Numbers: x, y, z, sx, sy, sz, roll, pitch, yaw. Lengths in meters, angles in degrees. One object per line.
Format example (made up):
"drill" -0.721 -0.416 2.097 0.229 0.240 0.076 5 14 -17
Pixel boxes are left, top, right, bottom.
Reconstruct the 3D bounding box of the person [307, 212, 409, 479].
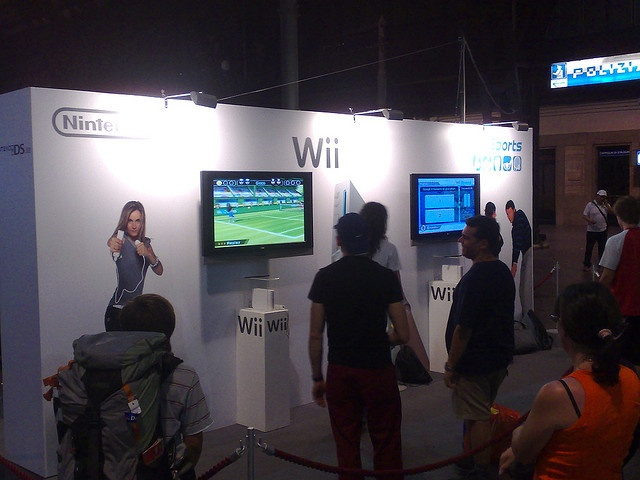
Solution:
"person" 0.199 0.579 2.890 0.571 1.444 0.445 -1 3 9

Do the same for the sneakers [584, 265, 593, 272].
"sneakers" 5.870 0.626 11.337 0.105 0.160 0.355 -6 -17 35
